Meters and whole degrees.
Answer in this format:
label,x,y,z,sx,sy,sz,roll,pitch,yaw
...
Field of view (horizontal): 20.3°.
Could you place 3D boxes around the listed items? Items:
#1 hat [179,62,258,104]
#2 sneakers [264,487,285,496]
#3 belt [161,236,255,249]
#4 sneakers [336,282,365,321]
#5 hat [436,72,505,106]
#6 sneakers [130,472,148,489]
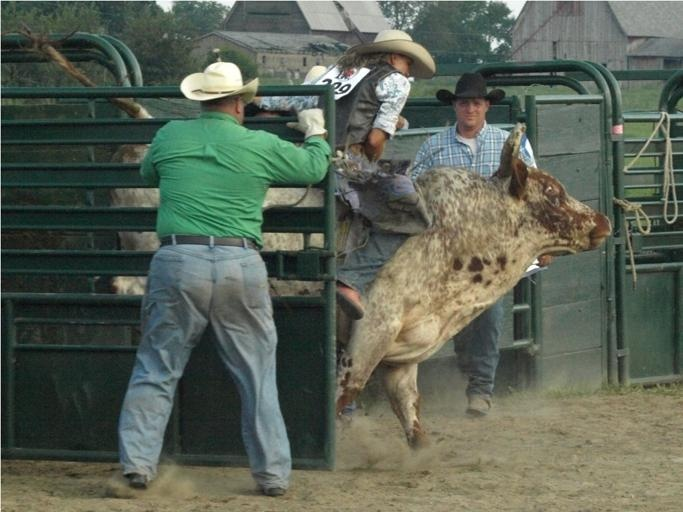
label,x,y,z,sx,sy,sz,roll,pitch,yaw
hat,-1.188,-1.776,19.161,0.906,0.329,0.846,2,17,17
sneakers,-0.699,2.376,18.988,0.135,0.042,0.123,2,0,-18
belt,-1.369,-0.119,18.968,0.949,0.172,0.165,-2,2,-2
sneakers,0.082,0.461,19.435,0.130,0.366,0.250,-36,16,44
hat,1.422,-1.880,21.199,0.740,0.264,0.776,1,-2,24
sneakers,-2.056,2.258,18.843,0.124,0.172,0.192,2,3,14
